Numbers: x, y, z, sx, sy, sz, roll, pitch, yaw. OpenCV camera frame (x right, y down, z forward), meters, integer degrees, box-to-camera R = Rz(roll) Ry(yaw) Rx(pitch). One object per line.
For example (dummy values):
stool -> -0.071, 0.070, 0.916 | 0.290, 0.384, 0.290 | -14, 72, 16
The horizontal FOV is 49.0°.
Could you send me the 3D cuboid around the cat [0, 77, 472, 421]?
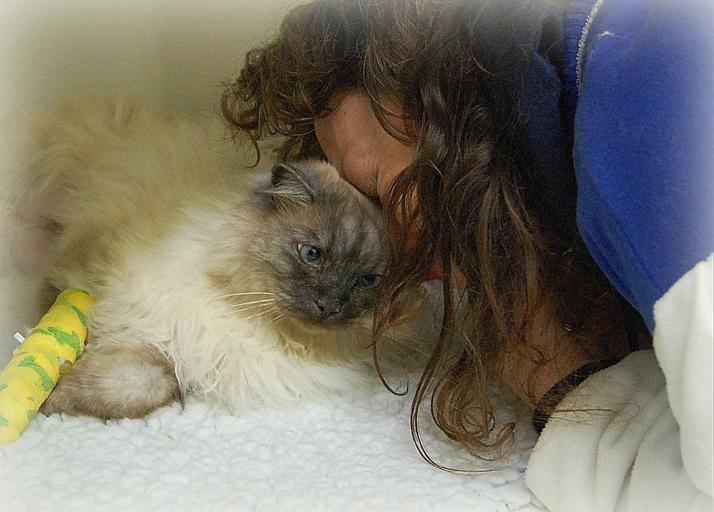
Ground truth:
cat -> -0.214, -0.063, 1.375 | 0.627, 0.301, 0.519 | 24, 21, 32
